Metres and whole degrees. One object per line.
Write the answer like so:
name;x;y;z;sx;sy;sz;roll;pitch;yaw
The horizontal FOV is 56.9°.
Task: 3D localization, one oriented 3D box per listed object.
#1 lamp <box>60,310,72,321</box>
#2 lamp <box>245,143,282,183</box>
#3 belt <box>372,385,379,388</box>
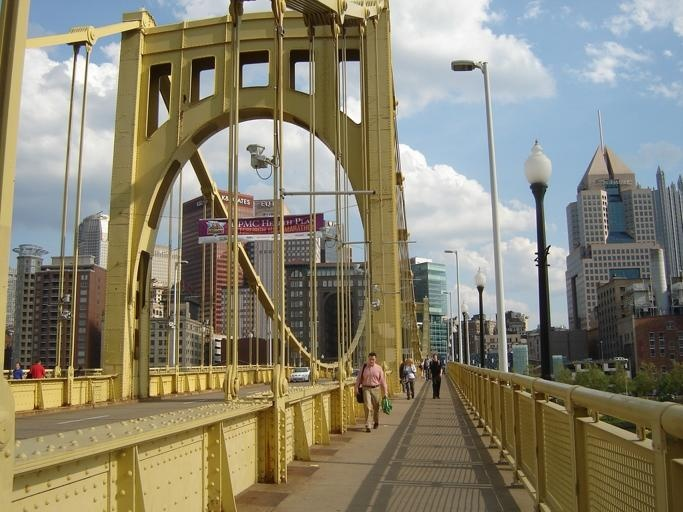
lamp;-10.454;2.234;23.996;0.284;0.360;1.382;1;-7;-22
lamp;-1.677;-2.048;13.539;0.649;0.754;0.375;2;-3;-19
belt;0.840;3.294;15.876;0.151;0.080;0.143;-3;-6;11
